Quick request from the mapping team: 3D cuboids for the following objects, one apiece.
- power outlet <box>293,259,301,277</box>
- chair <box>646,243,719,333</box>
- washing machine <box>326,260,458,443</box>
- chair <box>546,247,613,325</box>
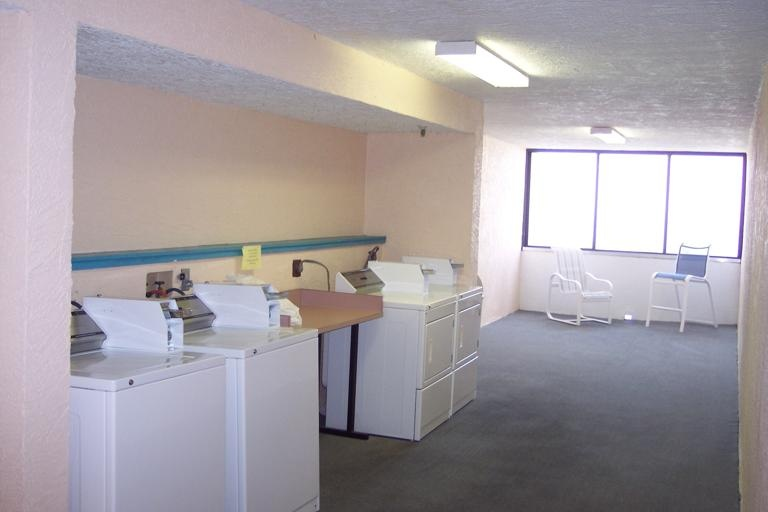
[{"bbox_3d":[-0.743,0.110,4.665,0.050,0.167,0.107,5,8,18],"label":"power outlet"},{"bbox_3d":[4.856,0.488,8.862,1.298,1.325,0.831,-2,9,-28],"label":"chair"},{"bbox_3d":[0.147,0.851,4.849,0.836,1.308,1.067,-2,-2,22],"label":"washing machine"},{"bbox_3d":[3.239,0.512,8.843,0.747,1.058,0.840,1,8,-20],"label":"chair"}]
